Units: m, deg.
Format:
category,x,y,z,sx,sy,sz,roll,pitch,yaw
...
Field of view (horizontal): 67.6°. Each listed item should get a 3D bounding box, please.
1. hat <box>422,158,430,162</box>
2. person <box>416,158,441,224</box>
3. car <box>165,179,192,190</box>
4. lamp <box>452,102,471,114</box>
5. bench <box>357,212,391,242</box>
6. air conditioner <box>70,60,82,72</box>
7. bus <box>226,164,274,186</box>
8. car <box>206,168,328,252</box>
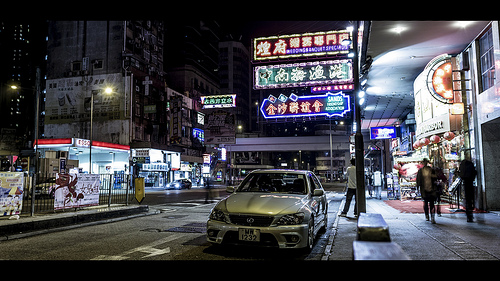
category,x,y,z,sx,sy,sz,roll,pitch,yaw
hat,9.940,1.090,21.150,0.443,0.191,0.560,-2,-9,23
person,9.364,2.568,19.766,0.985,3.346,1.260,-3,-7,23
car,-10.324,6.289,54.772,1.482,1.445,3.523,-6,-9,42
lamp,13.061,-2.048,23.184,1.046,0.732,0.506,-3,-7,22
bench,4.136,2.916,12.660,1.190,0.642,1.423,-1,14,16
air conditioner,-29.408,-12.665,62.800,1.958,1.771,1.935,0,-4,-15
bus,-0.938,4.351,49.161,7.447,3.006,5.098,0,-1,17
car,0.806,2.845,15.621,5.148,3.365,2.382,2,-7,-14
